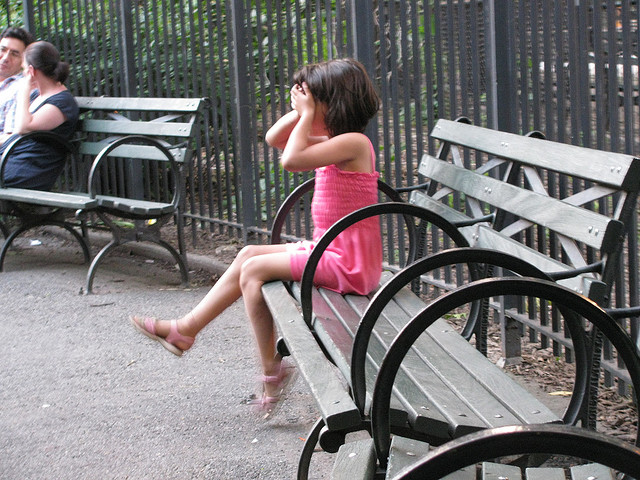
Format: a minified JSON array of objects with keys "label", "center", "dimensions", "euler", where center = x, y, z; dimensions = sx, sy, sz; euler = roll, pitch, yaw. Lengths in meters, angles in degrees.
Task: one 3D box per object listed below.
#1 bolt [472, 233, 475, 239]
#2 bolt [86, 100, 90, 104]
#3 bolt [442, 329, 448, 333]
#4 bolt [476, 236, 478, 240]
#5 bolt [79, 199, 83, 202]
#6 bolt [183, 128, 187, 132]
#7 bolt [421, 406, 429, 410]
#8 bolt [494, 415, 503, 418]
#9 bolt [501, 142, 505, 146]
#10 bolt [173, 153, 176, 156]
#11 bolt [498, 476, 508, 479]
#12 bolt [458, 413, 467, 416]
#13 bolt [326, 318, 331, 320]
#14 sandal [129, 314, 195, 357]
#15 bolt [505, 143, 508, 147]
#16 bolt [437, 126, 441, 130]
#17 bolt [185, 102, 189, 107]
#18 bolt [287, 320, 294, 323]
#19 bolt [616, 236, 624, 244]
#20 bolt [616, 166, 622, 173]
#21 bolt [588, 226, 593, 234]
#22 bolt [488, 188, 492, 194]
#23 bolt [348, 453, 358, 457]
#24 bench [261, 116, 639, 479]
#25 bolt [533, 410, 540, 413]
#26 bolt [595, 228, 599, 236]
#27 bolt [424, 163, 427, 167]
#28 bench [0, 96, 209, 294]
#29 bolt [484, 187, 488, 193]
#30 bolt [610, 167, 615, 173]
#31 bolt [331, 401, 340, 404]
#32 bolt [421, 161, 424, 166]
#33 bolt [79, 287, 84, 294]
[{"label":"bolt","center":[0.689,-0.020,2.938],"dimensions":[0.007,0.010,0.010],"euler":[4,-33,31]},{"label":"bolt","center":[-2.152,-1.289,6.121],"dimensions":[0.028,0.038,0.076],"euler":[-1,6,-27]},{"label":"bolt","center":[0.477,0.349,2.496],"dimensions":[0.020,0.003,0.032],"euler":[4,12,7]},{"label":"bolt","center":[0.698,-0.008,2.914],"dimensions":[0.002,0.015,0.014],"euler":[-2,13,-20]},{"label":"bolt","center":[-1.773,-0.290,4.897],"dimensions":[0.024,0.006,0.079],"euler":[-3,14,-26]},{"label":"bolt","center":[-1.058,-0.869,5.177],"dimensions":[0.016,0.029,0.035],"euler":[-7,16,-38]},{"label":"bolt","center":[0.317,0.507,1.969],"dimensions":[0.024,0.006,0.019],"euler":[-7,15,-37]},{"label":"bolt","center":[0.530,0.527,1.950],"dimensions":[0.007,0.003,0.013],"euler":[2,2,30]},{"label":"bolt","center":[0.817,-0.429,2.932],"dimensions":[0.007,0.014,0.028],"euler":[-1,13,-18]},{"label":"bolt","center":[-1.184,-0.703,5.386],"dimensions":[0.011,0.022,0.030],"euler":[-9,17,-44]},{"label":"bolt","center":[0.471,0.615,1.687],"dimensions":[0.022,0.002,0.013],"euler":[2,12,-5]},{"label":"bolt","center":[0.424,0.523,1.954],"dimensions":[0.022,0.002,0.015],"euler":[0,13,-13]},{"label":"bolt","center":[0.036,0.315,2.602],"dimensions":[0.025,0.004,0.013],"euler":[-6,15,-36]},{"label":"sandal","center":[-0.731,0.432,3.137],"dimensions":[0.325,0.147,0.131],"euler":[31,0,15]},{"label":"bolt","center":[0.825,-0.421,2.906],"dimensions":[0.008,0.017,0.023],"euler":[-3,13,-23]},{"label":"bolt","center":[0.624,-0.585,3.419],"dimensions":[0.003,0.013,0.014],"euler":[13,-12,-42]},{"label":"bolt","center":[-1.069,-1.102,5.308],"dimensions":[0.050,0.026,0.013],"euler":[14,17,42]},{"label":"bolt","center":[-0.110,0.322,2.575],"dimensions":[0.024,0.004,0.017],"euler":[-1,13,-16]},{"label":"bolt","center":[1.002,0.000,2.196],"dimensions":[0.020,0.017,0.036],"euler":[15,10,22]},{"label":"bolt","center":[1.041,-0.245,2.287],"dimensions":[0.009,0.019,0.027],"euler":[1,12,-5]},{"label":"bolt","center":[0.932,-0.035,2.265],"dimensions":[0.009,0.024,0.026],"euler":[1,12,-8]},{"label":"bolt","center":[0.748,-0.214,2.882],"dimensions":[0.004,0.014,0.015],"euler":[10,-2,-33]},{"label":"bolt","center":[0.098,0.643,1.953],"dimensions":[0.023,0.008,0.022],"euler":[10,14,31]},{"label":"bench","center":[0.519,0.218,2.545],"dimensions":[0.797,0.859,1.494],"euler":[-7,11,-16]},{"label":"bolt","center":[0.651,0.520,1.971],"dimensions":[0.006,0.002,0.007],"euler":[-10,15,-19]},{"label":"bolt","center":[0.941,-0.026,2.234],"dimensions":[0.008,0.026,0.021],"euler":[3,12,3]},{"label":"bolt","center":[0.550,-0.390,3.422],"dimensions":[0.004,0.020,0.024],"euler":[0,13,-12]},{"label":"bench","center":[-1.842,-0.394,5.636],"dimensions":[1.742,1.185,0.840],"euler":[7,5,44]},{"label":"bolt","center":[0.737,-0.221,2.911],"dimensions":[0.005,0.024,0.028],"euler":[0,12,-10]},{"label":"bolt","center":[1.031,-0.244,2.314],"dimensions":[0.015,0.015,0.011],"euler":[0,8,-12]},{"label":"bolt","center":[0.050,0.507,2.032],"dimensions":[0.019,0.003,0.015],"euler":[3,12,2]},{"label":"bolt","center":[0.541,-0.401,3.446],"dimensions":[0.006,0.022,0.023],"euler":[8,-11,-5]},{"label":"bolt","center":[-1.779,0.392,4.939],"dimensions":[0.028,0.044,0.044],"euler":[2,4,-13]}]
